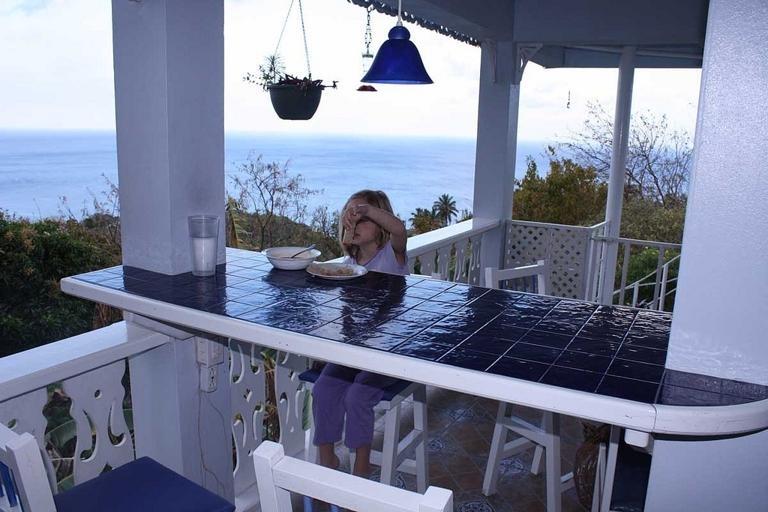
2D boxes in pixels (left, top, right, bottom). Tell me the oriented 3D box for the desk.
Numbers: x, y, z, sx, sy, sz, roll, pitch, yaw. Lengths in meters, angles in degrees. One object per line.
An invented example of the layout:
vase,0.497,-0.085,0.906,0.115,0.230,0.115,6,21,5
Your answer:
desk,0.104,0.282,1.961,2.203,0.314,0.715,4,10,19

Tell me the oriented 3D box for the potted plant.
potted plant,-0.588,-1.101,3.650,0.579,0.276,0.644,0,16,0

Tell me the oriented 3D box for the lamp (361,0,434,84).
lamp,0.046,-1.040,2.579,0.332,0.387,0.281,-2,10,-15
